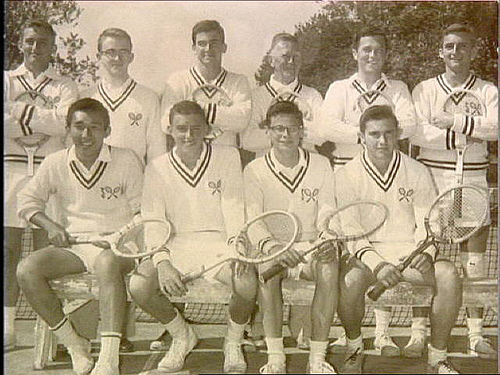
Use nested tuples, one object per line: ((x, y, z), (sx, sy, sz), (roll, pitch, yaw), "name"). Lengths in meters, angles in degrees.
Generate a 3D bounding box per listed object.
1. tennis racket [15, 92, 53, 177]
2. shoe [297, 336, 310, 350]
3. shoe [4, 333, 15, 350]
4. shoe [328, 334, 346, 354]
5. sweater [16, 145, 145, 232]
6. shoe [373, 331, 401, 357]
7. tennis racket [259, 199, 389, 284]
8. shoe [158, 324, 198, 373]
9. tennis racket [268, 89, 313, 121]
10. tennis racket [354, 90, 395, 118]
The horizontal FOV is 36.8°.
((-1.803, -0.455, 6.183), (0.397, 0.626, 0.050), (1, 3, 0), "tennis racket")
((0.438, 1.289, 6.197), (0.110, 0.094, 0.092), (-1, 21, 3), "shoe")
((-1.975, 1.262, 6.094), (0.118, 0.094, 0.108), (3, -3, -9), "shoe")
((0.707, 1.311, 6.141), (0.168, 0.088, 0.074), (3, -12, -2), "shoe")
((-1.346, 0.053, 6.168), (1.360, 0.706, 0.692), (0, 6, 0), "sweater")
((1.130, 1.267, 6.224), (0.161, 0.255, 0.295), (0, 3, -10), "shoe")
((0.641, 0.451, 6.156), (1.280, 0.097, 0.470), (-24, 35, -8), "tennis racket")
((-0.562, 1.330, 6.127), (0.213, 0.434, 0.185), (16, -23, 38), "shoe")
((0.366, -0.699, 6.304), (0.230, 0.306, 0.078), (-44, 0, -3), "tennis racket")
((1.033, -0.683, 6.210), (0.269, 0.170, 0.031), (4, -9, 2), "tennis racket")
